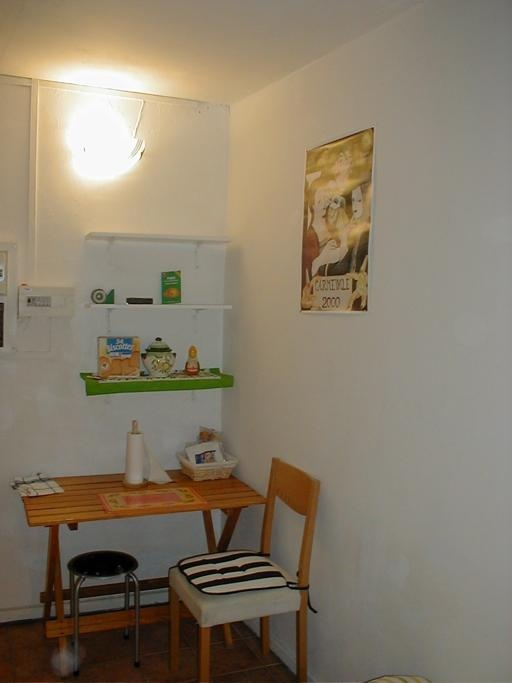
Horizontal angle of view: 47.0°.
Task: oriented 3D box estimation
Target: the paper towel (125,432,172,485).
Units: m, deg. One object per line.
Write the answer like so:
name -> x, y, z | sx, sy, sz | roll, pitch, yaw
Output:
paper towel -> -0.559, 0.572, 2.915 | 0.211, 0.259, 0.139 | -1, -1, -34

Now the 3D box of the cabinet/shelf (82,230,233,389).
cabinet/shelf -> -0.553, -0.177, 3.126 | 0.840, 0.833, 0.254 | 0, -1, -21

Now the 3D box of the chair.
chair -> -0.057, 0.981, 2.430 | 0.539, 0.921, 0.538 | 0, 4, -25
